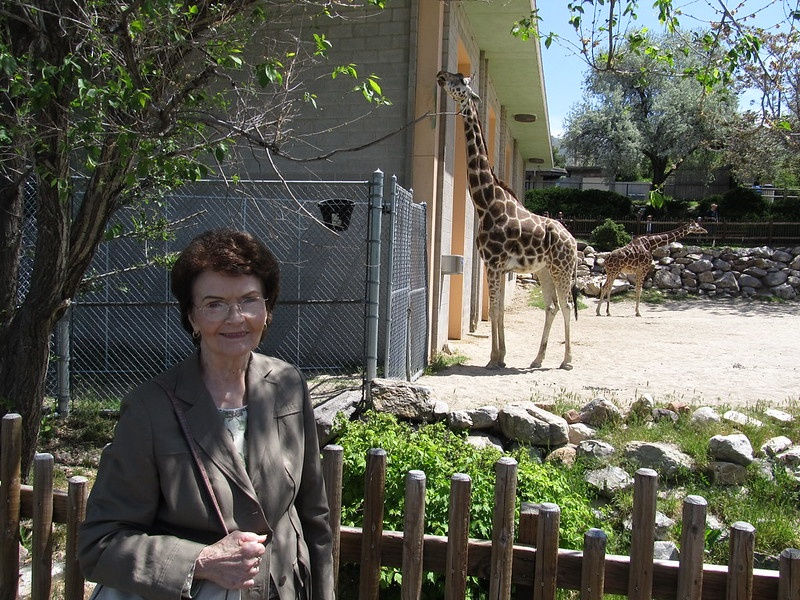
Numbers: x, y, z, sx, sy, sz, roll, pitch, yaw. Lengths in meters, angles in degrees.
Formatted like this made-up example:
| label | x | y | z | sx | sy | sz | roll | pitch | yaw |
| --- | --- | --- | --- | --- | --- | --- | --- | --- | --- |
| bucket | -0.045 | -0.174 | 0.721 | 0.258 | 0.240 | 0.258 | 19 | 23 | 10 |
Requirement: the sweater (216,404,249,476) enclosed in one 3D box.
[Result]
| label | x | y | z | sx | sy | sz | roll | pitch | yaw |
| --- | --- | --- | --- | --- | --- | --- | --- | --- | --- |
| sweater | -0.761 | 0.636 | 3.427 | 0.057 | 0.244 | 0.176 | -8 | -8 | -2 |
